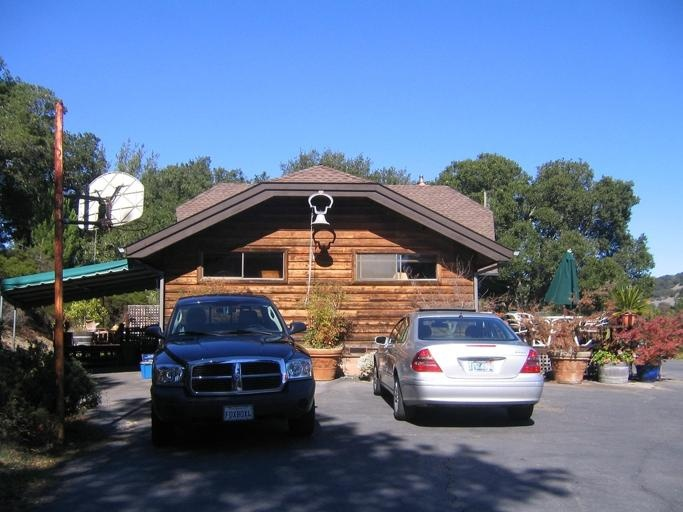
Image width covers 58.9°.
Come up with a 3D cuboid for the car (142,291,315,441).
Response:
[{"bbox_3d":[-1.717,1.675,9.703,1.598,1.429,2.991,0,-15,-10],"label":"car"}]

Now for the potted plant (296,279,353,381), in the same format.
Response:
[{"bbox_3d":[-0.510,2.258,17.947,1.384,2.804,1.707,3,-1,-18],"label":"potted plant"}]

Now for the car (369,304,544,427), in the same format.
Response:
[{"bbox_3d":[2.028,1.998,11.110,2.175,1.983,2.702,1,-3,-12],"label":"car"}]
